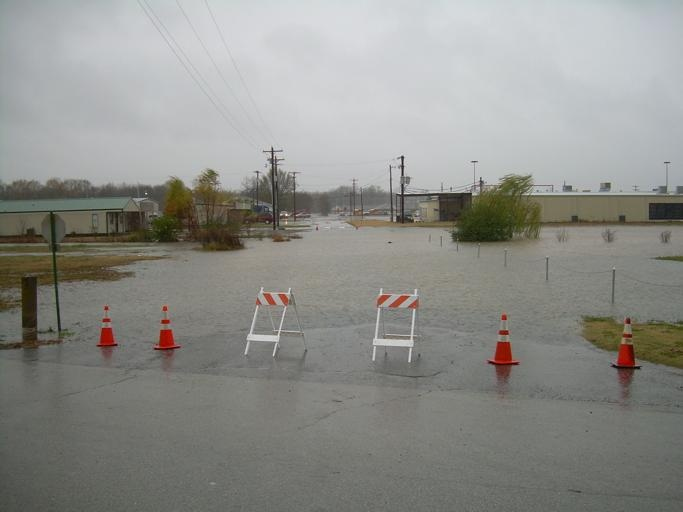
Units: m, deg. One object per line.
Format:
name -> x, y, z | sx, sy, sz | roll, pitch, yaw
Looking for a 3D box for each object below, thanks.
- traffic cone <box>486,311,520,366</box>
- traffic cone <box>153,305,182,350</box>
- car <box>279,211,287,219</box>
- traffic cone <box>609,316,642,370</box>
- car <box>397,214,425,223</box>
traffic cone -> 3.138, 1.515, 10.972 | 0.560, 0.945, 1.086 | 1, 5, 17
traffic cone -> -3.760, 1.533, 12.124 | 0.661, 0.926, 0.677 | -5, -3, 41
car -> -13.354, -9.615, 130.837 | 1.614, 1.666, 4.886 | -2, 0, -1
traffic cone -> 5.284, 1.616, 10.478 | 0.580, 0.848, 0.609 | 2, -2, 0
car -> 10.978, -6.016, 90.908 | 3.869, 2.045, 2.748 | -1, 5, -2
